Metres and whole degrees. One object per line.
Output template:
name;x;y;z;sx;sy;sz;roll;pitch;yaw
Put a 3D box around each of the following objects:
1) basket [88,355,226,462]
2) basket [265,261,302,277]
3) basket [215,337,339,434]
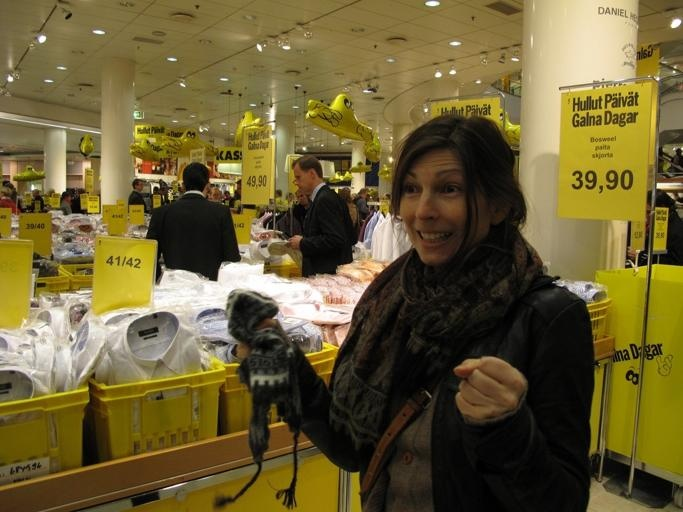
basket;-0.557;0.454;1.590;0.343;0.227;0.238;-1;-1;-31
basket;-0.486;0.129;4.407;0.153;0.102;0.231;3;-7;-17
basket;-0.214;0.438;1.862;0.422;0.278;0.276;-1;1;-33
